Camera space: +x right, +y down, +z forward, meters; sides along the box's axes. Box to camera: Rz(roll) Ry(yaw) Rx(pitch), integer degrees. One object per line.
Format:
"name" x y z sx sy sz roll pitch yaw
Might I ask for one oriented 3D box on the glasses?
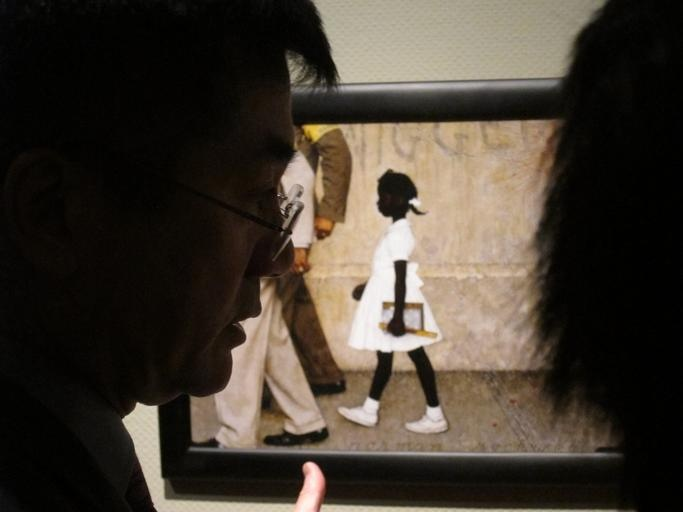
"glasses" -0.161 -0.062 1.443 0.153 0.051 0.148 30 2 -8

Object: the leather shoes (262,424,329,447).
"leather shoes" -0.083 0.351 1.932 0.128 0.064 0.044 2 0 5
